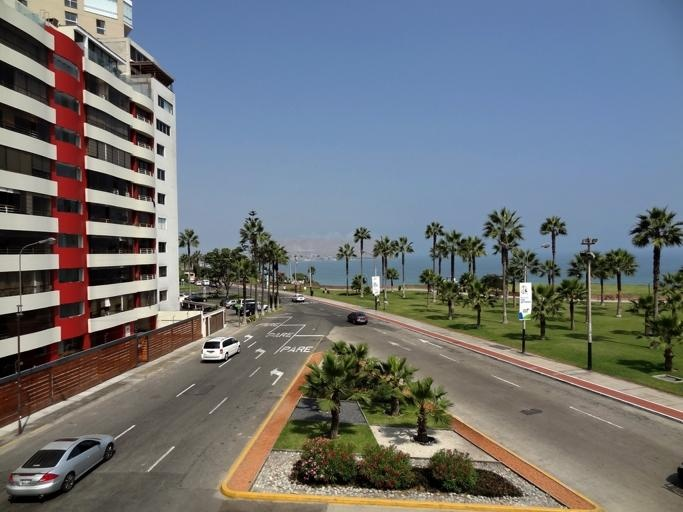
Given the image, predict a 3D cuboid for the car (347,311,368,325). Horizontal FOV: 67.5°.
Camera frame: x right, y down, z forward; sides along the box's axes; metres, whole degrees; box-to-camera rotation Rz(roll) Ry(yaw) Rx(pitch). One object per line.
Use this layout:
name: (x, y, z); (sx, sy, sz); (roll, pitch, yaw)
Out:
car: (2.156, 8.926, 73.436); (1.340, 0.930, 2.776); (0, 2, -20)

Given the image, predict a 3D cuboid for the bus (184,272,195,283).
bus: (-45.790, 6.510, 154.046); (3.711, 3.488, 6.361); (2, -3, -23)

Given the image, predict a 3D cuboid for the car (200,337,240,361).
car: (-12.395, 9.455, 52.624); (2.061, 2.313, 3.627); (2, 10, 19)
